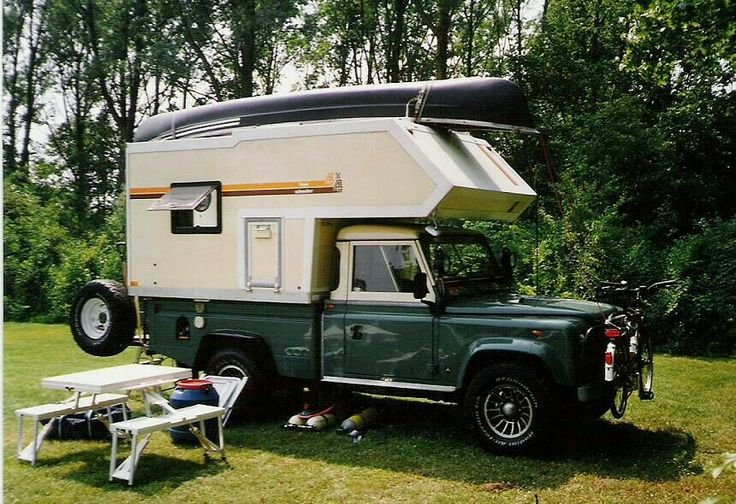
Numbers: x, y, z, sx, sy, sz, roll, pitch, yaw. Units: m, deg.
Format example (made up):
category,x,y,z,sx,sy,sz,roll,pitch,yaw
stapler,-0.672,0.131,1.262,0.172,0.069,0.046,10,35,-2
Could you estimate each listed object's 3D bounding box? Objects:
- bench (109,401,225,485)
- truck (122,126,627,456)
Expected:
category,x,y,z,sx,sy,sz,roll,pitch,yaw
bench,-2.614,2.434,8.251,1.425,0.743,0.617,-6,9,-39
truck,-0.243,0.294,9.660,7.115,4.512,1.528,2,9,21
